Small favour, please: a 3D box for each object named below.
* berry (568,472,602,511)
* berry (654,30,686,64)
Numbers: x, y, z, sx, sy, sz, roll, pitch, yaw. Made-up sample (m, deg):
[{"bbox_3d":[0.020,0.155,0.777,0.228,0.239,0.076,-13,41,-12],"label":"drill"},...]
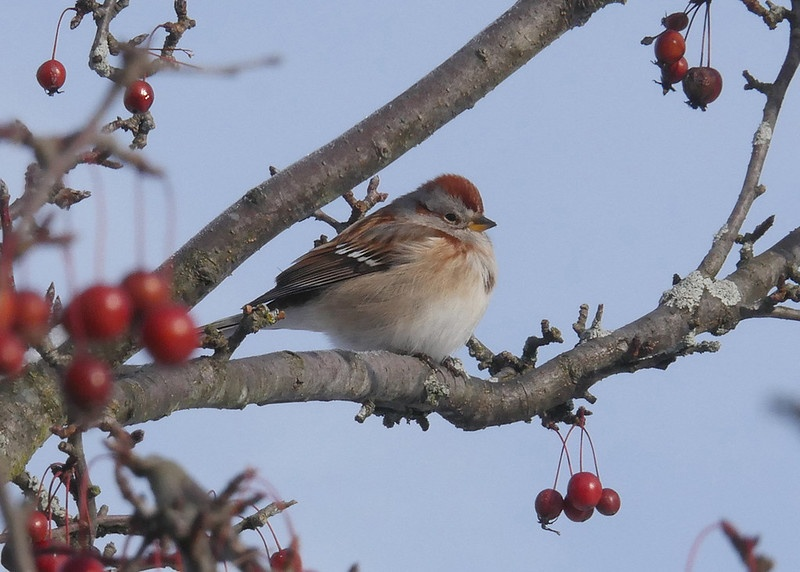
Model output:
[{"bbox_3d":[1.129,1.254,7.571,0.192,0.245,0.211,-1,11,7],"label":"berry"},{"bbox_3d":[1.691,-1.519,7.750,0.180,0.222,0.234,12,-15,9],"label":"berry"}]
